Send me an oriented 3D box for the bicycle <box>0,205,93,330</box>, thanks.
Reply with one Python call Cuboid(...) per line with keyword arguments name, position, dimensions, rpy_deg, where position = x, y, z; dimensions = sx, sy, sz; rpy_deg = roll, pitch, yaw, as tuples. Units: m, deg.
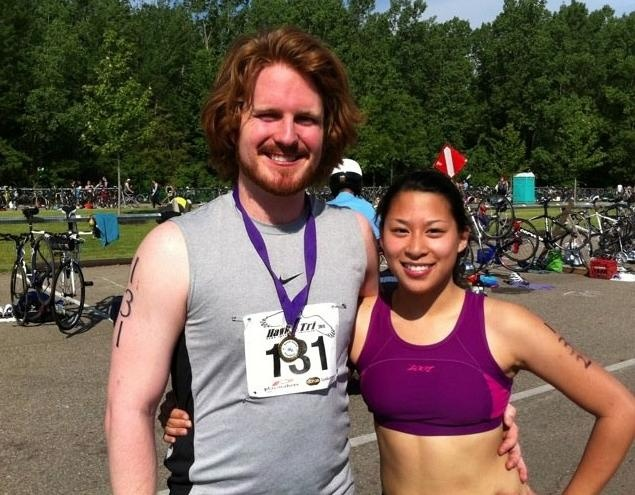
Cuboid(name="bicycle", position=(-3.652, 0.458, 9.074), dimensions=(1.021, 1.243, 1.963), rpy_deg=(5, -3, -36))
